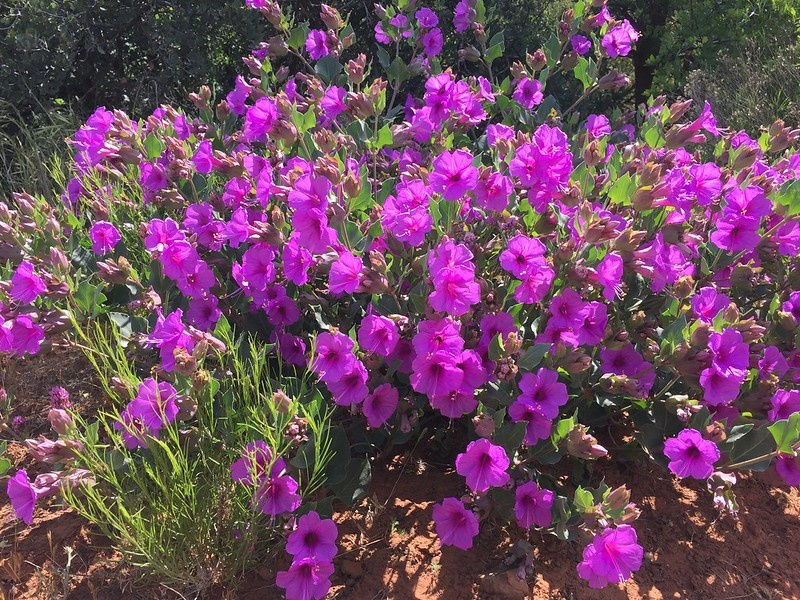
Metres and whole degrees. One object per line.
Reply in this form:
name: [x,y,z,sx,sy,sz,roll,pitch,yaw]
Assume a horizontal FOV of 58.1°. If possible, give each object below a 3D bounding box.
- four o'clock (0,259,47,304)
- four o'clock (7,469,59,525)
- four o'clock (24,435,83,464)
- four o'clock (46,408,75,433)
four o'clock: [-1.796,-0.074,3.454,0.187,0.220,0.100,-19,7,0]
four o'clock: [-1.599,0.853,3.107,0.210,0.189,0.145,9,42,-3]
four o'clock: [-1.497,0.665,3.160,0.134,0.171,0.084,13,77,-2]
four o'clock: [-1.493,0.518,3.141,0.074,0.121,0.040,-29,11,-13]
